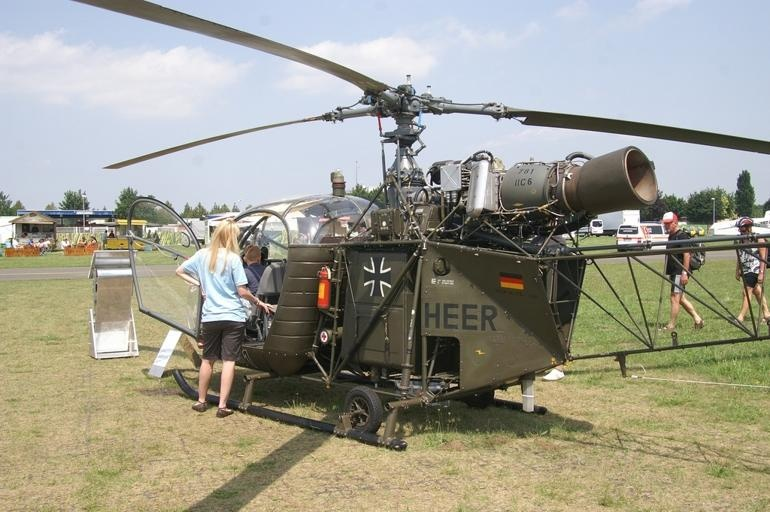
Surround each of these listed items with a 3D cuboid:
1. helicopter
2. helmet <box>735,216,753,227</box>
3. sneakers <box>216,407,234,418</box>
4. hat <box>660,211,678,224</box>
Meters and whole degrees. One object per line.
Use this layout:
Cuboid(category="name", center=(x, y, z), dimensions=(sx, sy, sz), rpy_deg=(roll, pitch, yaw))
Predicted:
Cuboid(category="helicopter", center=(1.154, 0.159, 8.351), dimensions=(5.399, 2.443, 5.423), rpy_deg=(4, 0, 36))
Cuboid(category="helmet", center=(6.059, -0.576, 11.326), dimensions=(0.285, 0.141, 0.205), rpy_deg=(-21, 17, -40))
Cuboid(category="sneakers", center=(-2.008, 1.965, 8.486), dimensions=(0.089, 0.087, 0.221), rpy_deg=(3, 5, 28))
Cuboid(category="hat", center=(4.948, -0.664, 11.697), dimensions=(0.321, 0.172, 0.205), rpy_deg=(1, -3, -37))
